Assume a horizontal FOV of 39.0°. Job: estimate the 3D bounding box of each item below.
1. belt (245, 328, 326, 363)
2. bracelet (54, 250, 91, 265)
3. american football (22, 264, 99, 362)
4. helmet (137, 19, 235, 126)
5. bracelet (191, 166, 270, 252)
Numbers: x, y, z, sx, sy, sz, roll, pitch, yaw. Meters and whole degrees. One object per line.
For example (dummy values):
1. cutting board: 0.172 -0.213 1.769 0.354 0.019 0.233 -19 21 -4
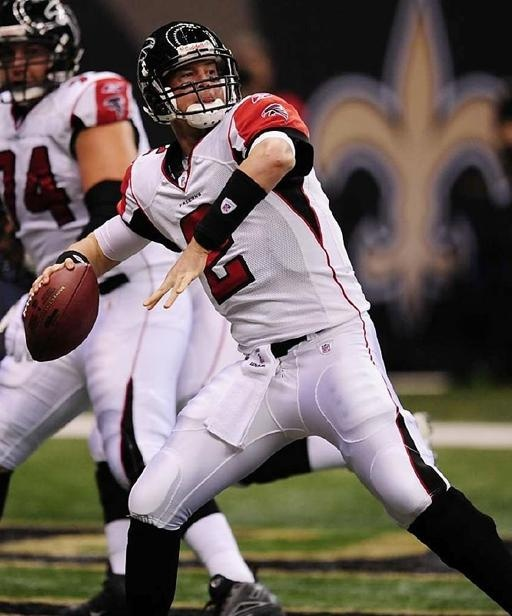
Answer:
1. belt: 0.065 0.081 1.548 0.093 0.021 0.066 -25 1 -3
2. bracelet: -0.434 -0.119 1.703 0.056 0.029 0.040 -7 3 -16
3. american football: -0.445 0.009 1.736 0.224 0.154 0.164 -49 45 14
4. helmet: -0.167 -0.522 1.653 0.231 0.255 0.081 -23 33 -37
5. bracelet: -0.044 -0.197 1.450 0.191 0.105 0.082 -46 24 16
